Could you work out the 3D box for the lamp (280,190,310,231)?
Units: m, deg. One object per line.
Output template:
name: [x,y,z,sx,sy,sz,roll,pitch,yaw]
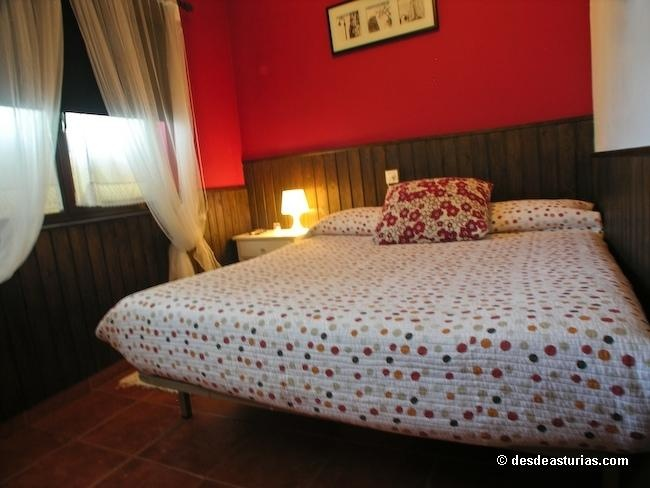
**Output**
lamp: [-0.208,-0.303,3.989,0.295,0.468,0.316,-2,11,-1]
